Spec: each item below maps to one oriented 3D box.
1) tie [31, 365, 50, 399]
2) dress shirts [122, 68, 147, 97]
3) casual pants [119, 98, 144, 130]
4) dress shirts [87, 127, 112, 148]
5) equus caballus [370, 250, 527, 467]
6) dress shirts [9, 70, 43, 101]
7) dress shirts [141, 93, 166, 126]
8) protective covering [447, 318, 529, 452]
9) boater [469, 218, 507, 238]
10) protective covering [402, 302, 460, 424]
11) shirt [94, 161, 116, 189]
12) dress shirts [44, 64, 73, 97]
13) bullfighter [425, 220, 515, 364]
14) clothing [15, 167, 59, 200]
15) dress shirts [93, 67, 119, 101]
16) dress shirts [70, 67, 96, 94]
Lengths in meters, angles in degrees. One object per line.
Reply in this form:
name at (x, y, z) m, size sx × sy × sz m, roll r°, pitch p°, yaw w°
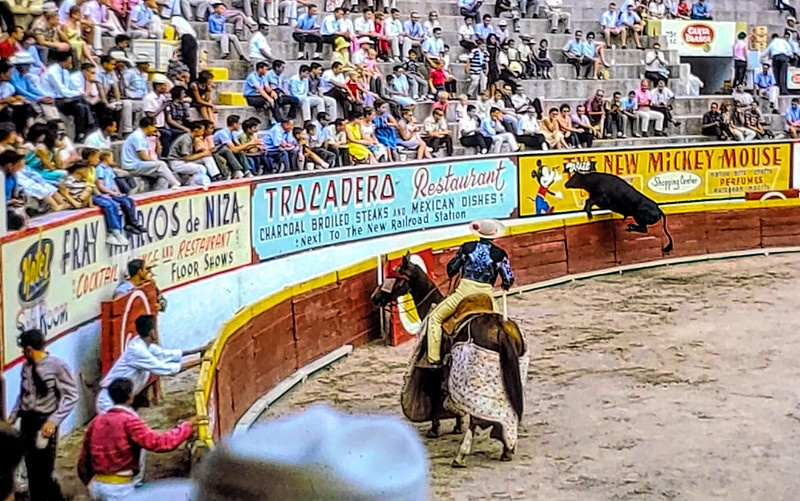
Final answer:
tie at (-5.130, 1.877, 13.310) m, size 0.197 × 0.419 × 0.253 m, roll -31°, pitch -9°, yaw -15°
dress shirts at (-5.773, -3.704, 20.548) m, size 0.331 × 0.669 × 0.663 m, roll 12°, pitch 15°, yaw 34°
casual pants at (-5.740, -2.877, 19.863) m, size 0.190 × 0.634 × 0.606 m, roll 17°, pitch 17°, yaw 34°
dress shirts at (-5.795, -2.173, 17.921) m, size 0.256 × 0.429 × 0.507 m, roll 16°, pitch 4°, yaw 25°
equus caballus at (0.863, 1.778, 15.656) m, size 1.325 × 2.876 × 3.682 m, roll -1°, pitch 10°, yaw -37°
dress shirts at (-7.190, -3.190, 17.990) m, size 0.571 × 0.614 × 0.394 m, roll -4°, pitch 13°, yaw -22°
dress shirts at (-5.149, -2.966, 19.569) m, size 0.490 × 0.676 × 0.677 m, roll -2°, pitch 12°, yaw -15°
protective covering at (1.477, 1.982, 14.903) m, size 1.081 × 1.911 × 1.459 m, roll 6°, pitch -3°, yaw 18°
boater at (1.457, -0.365, 15.033) m, size 0.340 × 0.121 × 0.395 m, roll -4°, pitch 34°, yaw -11°
protective covering at (0.612, 1.867, 15.497) m, size 1.031 × 0.276 × 2.354 m, roll 10°, pitch 50°, yaw -11°
shirt at (-5.276, -1.341, 16.578) m, size 0.174 × 0.425 × 0.481 m, roll -17°, pitch -7°, yaw 16°
dress shirts at (-6.772, -3.323, 18.404) m, size 0.665 × 0.716 × 0.530 m, roll -2°, pitch 11°, yaw -14°
bullfighter at (1.139, 0.753, 15.159) m, size 1.089 × 2.559 × 0.933 m, roll 9°, pitch -13°, yaw 4°
clothing at (-6.094, -1.103, 15.611) m, size 0.599 × 0.136 × 0.432 m, roll 26°, pitch 44°, yaw -26°
dress shirts at (-6.222, -3.530, 19.697) m, size 0.500 × 0.918 × 0.433 m, roll -7°, pitch -6°, yaw -18°
dress shirts at (-6.427, -3.421, 18.863) m, size 0.484 × 0.514 × 0.358 m, roll 3°, pitch 20°, yaw 40°
